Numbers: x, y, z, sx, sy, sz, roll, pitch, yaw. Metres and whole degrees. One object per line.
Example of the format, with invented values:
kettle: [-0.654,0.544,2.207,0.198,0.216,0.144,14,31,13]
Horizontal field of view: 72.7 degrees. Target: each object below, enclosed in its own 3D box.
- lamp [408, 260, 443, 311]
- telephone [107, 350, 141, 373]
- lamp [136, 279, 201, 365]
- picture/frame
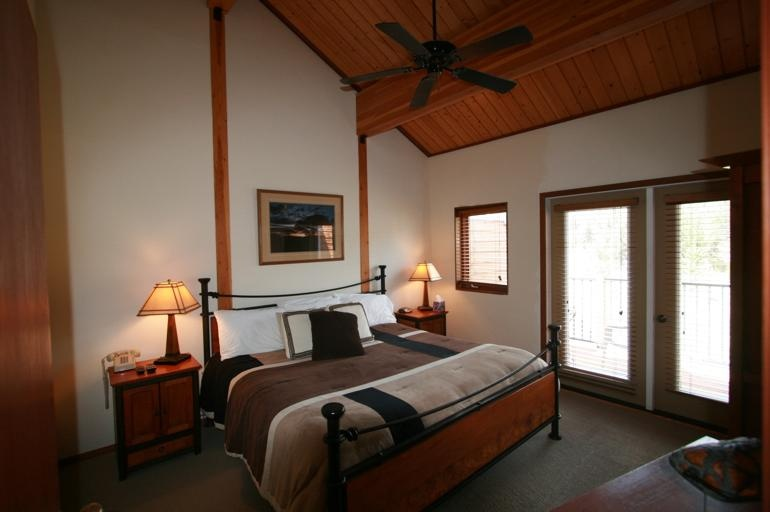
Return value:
lamp: [0.544,0.397,6.762,0.457,0.573,0.460,1,-1,-8]
telephone: [-2.389,0.904,4.751,0.280,0.207,0.159,3,-5,-39]
lamp: [-2.004,0.629,4.903,0.583,0.699,0.566,-3,1,-32]
picture/frame: [-0.989,-0.325,5.815,0.844,0.678,0.030,-4,5,-35]
